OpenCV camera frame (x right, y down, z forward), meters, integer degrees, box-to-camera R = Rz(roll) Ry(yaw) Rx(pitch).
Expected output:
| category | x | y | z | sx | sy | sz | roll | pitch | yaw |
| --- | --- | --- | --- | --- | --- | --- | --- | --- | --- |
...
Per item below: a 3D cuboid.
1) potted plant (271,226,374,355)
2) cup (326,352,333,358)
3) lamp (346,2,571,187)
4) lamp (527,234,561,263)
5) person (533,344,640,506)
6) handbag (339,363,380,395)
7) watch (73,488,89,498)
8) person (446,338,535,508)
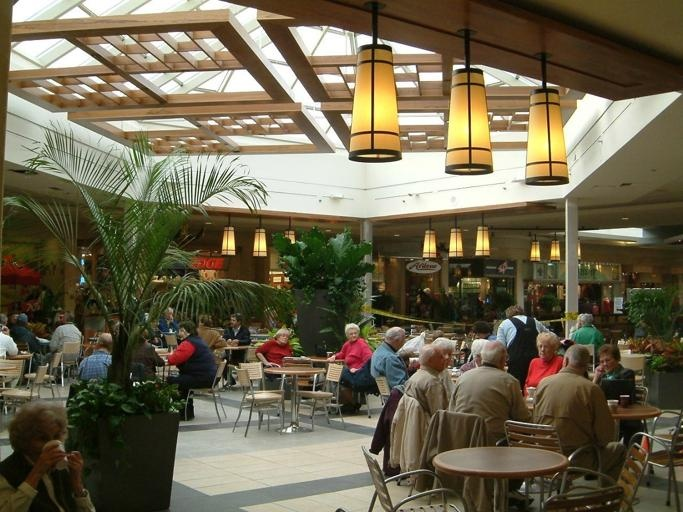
| category | x | y | z | sx | sy | sz | roll | pitch | yaw |
| --- | --- | --- | --- | --- | --- | --- | --- | --- | --- |
| potted plant | -0.359 | 1.017 | 12.280 | 2.419 | 2.255 | 1.785 | 4 | -5 | -14 |
| cup | -0.229 | 2.096 | 11.539 | 0.129 | 0.109 | 0.115 | 0 | -10 | 2 |
| lamp | 0.859 | -1.095 | 3.932 | 1.797 | 1.070 | 0.434 | 4 | -8 | -33 |
| lamp | 8.231 | -0.335 | 22.121 | 1.448 | 1.099 | 1.287 | 1 | -8 | -3 |
| person | 2.104 | 1.396 | 4.923 | 0.611 | 1.118 | 0.445 | 1 | -7 | -9 |
| handbag | 0.395 | 2.334 | 10.210 | 0.801 | 0.286 | 0.777 | -5 | -8 | 34 |
| watch | -1.511 | 1.378 | 3.170 | 0.074 | 0.048 | 0.053 | 3 | -7 | 11 |
| person | 1.530 | 1.518 | 5.305 | 0.927 | 1.268 | 0.739 | -2 | 0 | 2 |
